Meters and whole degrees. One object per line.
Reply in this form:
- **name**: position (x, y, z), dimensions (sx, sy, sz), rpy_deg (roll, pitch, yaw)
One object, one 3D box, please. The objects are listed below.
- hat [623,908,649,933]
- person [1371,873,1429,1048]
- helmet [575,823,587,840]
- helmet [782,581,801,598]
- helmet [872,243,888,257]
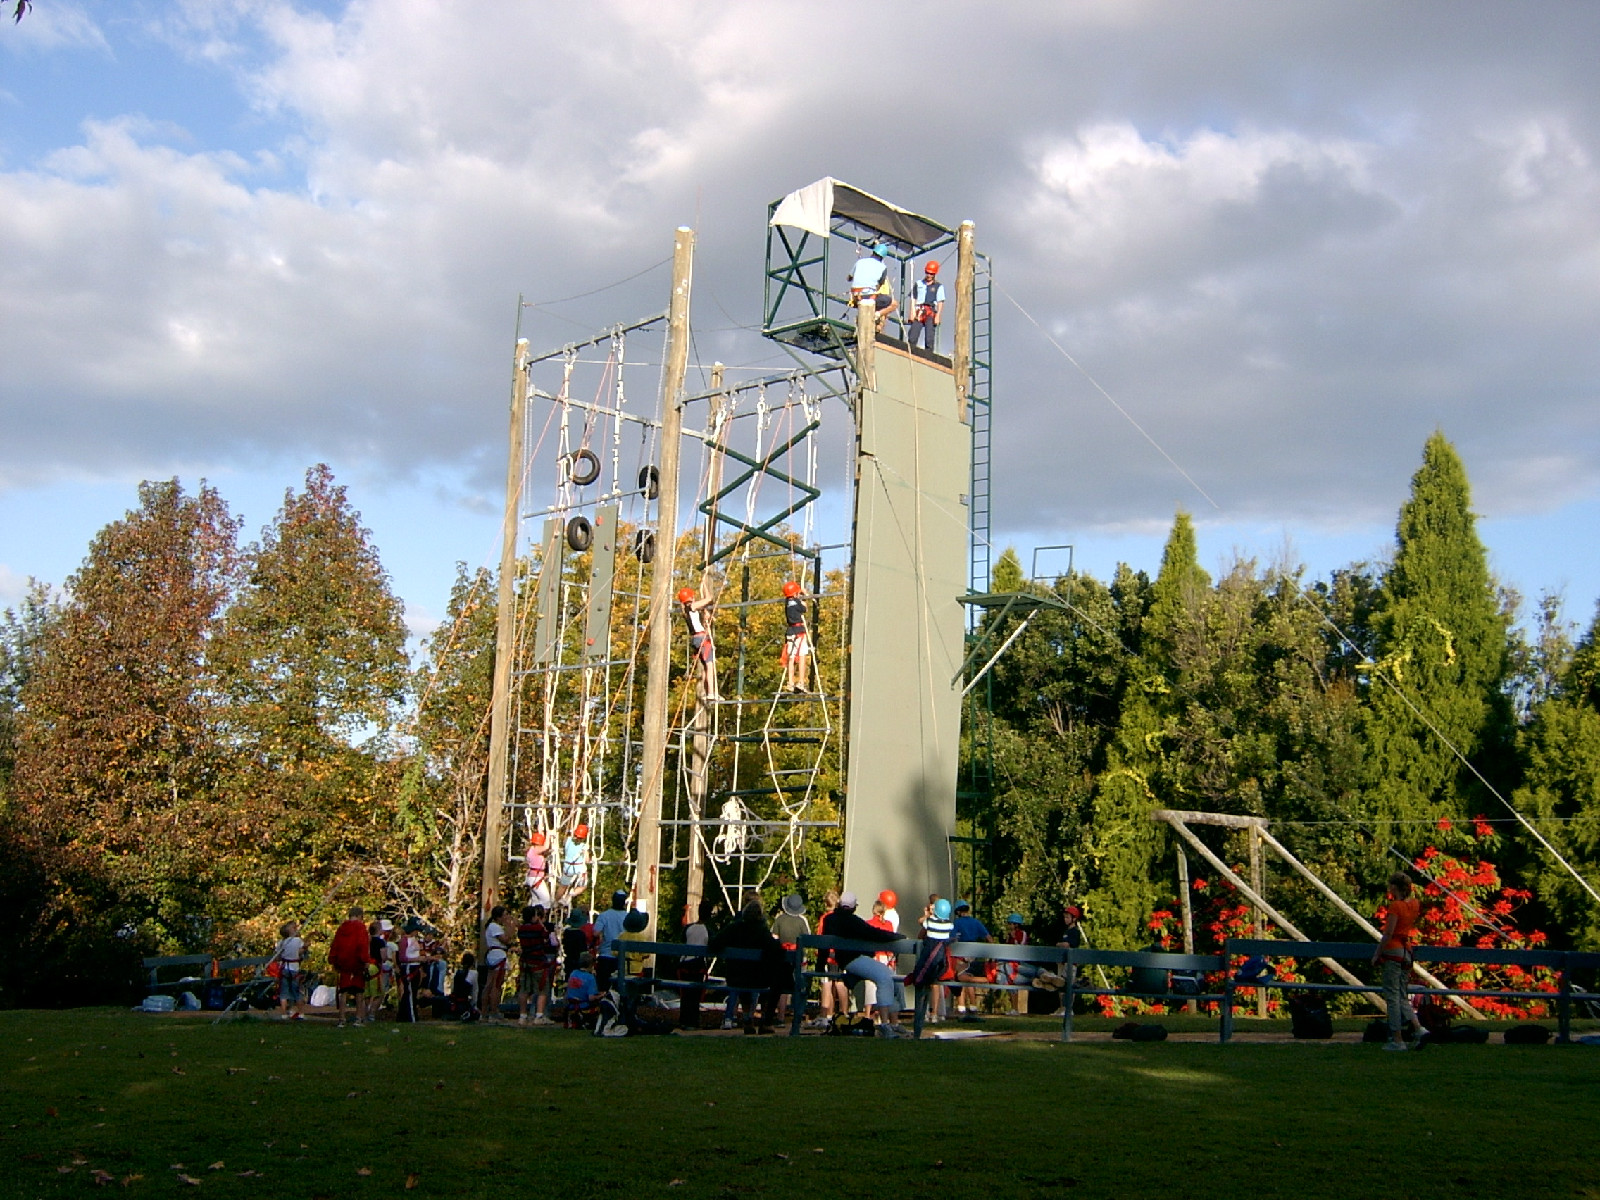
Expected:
- **hat**: position (-2.349, 4.553, 23.806), dimensions (0.414, 0.299, 0.376), rpy_deg (5, -14, -7)
- **person**: position (6.962, 4.166, 19.470), dimensions (0.406, 1.992, 1.504), rpy_deg (-3, -6, 20)
- **helmet**: position (-4.319, 4.551, 32.931), dimensions (0.225, 0.271, 0.547), rpy_deg (0, -6, -3)
- **helmet**: position (-0.190, -0.233, 34.654), dimensions (0.242, 0.263, 0.331), rpy_deg (-2, -4, 1)
- **helmet**: position (1.568, -7.008, 33.590), dimensions (0.255, 0.353, 0.344), rpy_deg (-3, 3, 6)
